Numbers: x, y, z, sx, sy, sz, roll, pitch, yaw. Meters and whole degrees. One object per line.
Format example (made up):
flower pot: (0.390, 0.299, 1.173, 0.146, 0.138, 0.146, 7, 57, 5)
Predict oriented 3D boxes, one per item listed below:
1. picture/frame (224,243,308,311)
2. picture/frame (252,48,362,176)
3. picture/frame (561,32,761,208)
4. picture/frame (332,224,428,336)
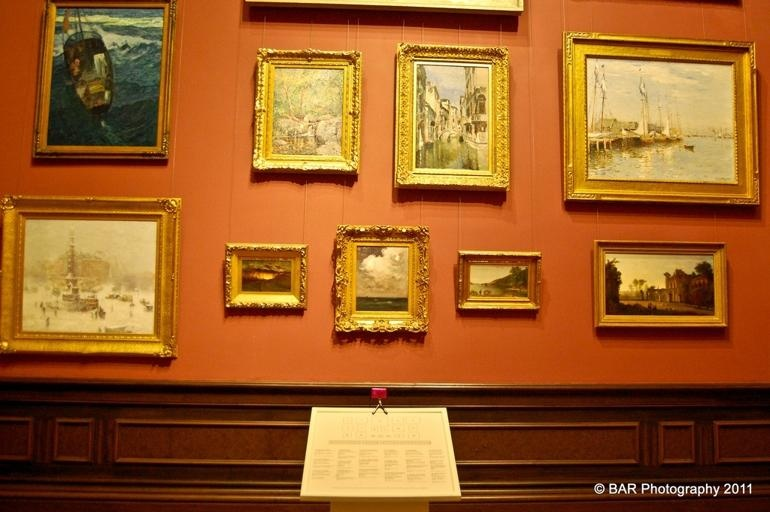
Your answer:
picture/frame: (-1.273, 0.229, 10.696, 0.714, 0.600, 0.064, 1, 0, -1)
picture/frame: (-0.839, -1.497, 10.759, 1.324, 1.382, 0.198, 1, -4, -3)
picture/frame: (2.872, -1.395, 10.879, 1.896, 1.546, 0.121, 0, -2, -5)
picture/frame: (-0.058, 0.295, 10.705, 1.157, 1.225, 0.148, 1, -2, -2)
